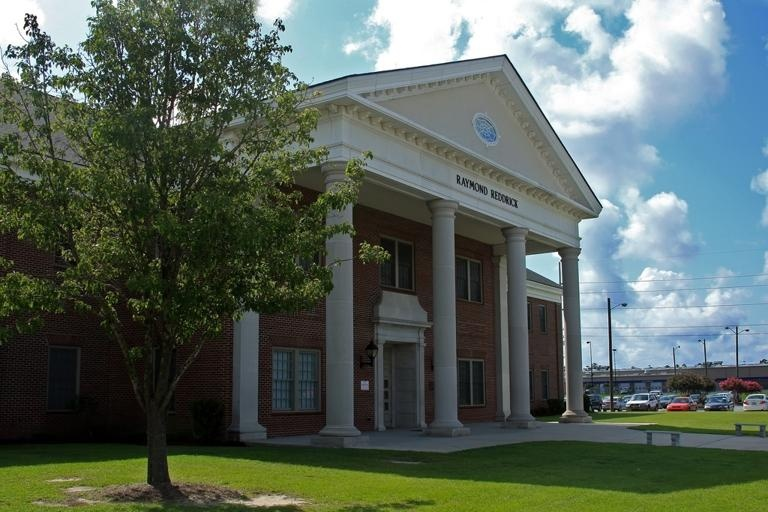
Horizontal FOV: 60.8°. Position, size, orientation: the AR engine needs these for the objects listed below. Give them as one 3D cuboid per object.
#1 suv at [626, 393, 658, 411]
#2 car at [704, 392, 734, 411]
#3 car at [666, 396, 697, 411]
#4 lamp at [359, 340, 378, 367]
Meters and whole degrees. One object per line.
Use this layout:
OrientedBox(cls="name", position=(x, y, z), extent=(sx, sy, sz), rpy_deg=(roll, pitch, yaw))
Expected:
OrientedBox(cls="suv", position=(24.570, 13.783, 61.865), extent=(1.506, 1.041, 2.884), rpy_deg=(-8, -23, 26))
OrientedBox(cls="car", position=(31.356, 13.676, 61.243), extent=(3.112, 1.405, 1.717), rpy_deg=(11, -20, -39))
OrientedBox(cls="car", position=(26.228, 13.013, 57.756), extent=(1.569, 1.259, 4.171), rpy_deg=(-12, -18, 30))
OrientedBox(cls="lamp", position=(-0.531, 4.298, 28.938), extent=(0.784, 1.220, 1.067), rpy_deg=(-9, -17, 25))
